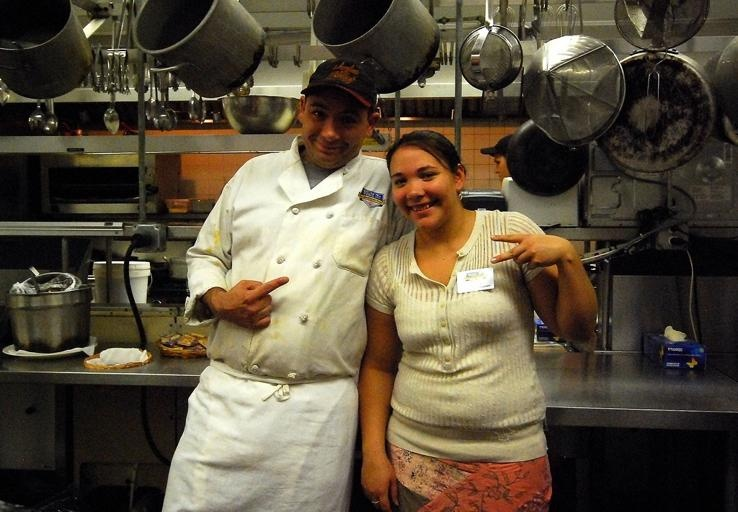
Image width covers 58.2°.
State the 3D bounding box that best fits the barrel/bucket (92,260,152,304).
[{"bbox_3d":[-1.311,0.144,3.474,0.271,0.230,0.267,3,2,0],"label":"barrel/bucket"}]

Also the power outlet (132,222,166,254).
[{"bbox_3d":[-0.981,-0.085,2.943,0.164,0.136,0.119,0,7,13],"label":"power outlet"}]

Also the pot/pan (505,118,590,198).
[{"bbox_3d":[0.806,-0.436,2.977,0.331,0.321,0.065,2,10,8],"label":"pot/pan"}]

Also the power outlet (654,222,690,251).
[{"bbox_3d":[1.369,-0.089,2.988,0.130,0.116,0.031,-2,9,8],"label":"power outlet"}]

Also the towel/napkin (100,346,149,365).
[{"bbox_3d":[-1.128,0.453,3.016,0.129,0.031,0.104,5,16,-3],"label":"towel/napkin"}]

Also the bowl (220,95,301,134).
[{"bbox_3d":[-0.565,-0.671,3.309,0.393,0.176,0.386,2,2,0],"label":"bowl"}]
